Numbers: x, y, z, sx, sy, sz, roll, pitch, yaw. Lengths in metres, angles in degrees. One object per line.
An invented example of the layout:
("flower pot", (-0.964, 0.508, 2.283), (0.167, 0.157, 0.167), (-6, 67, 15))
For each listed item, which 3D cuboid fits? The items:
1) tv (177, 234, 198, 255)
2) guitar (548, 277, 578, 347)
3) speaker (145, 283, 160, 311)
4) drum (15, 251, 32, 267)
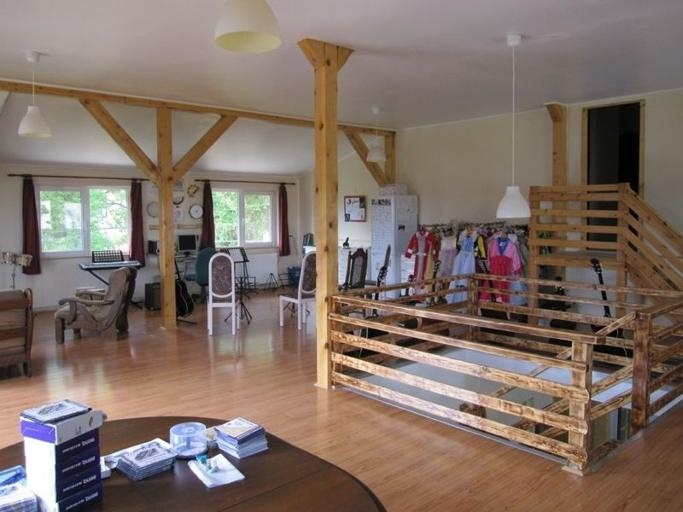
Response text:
("tv", (-3.106, -0.221, 9.770), (0.406, 0.396, 0.140), (0, -2, -37))
("guitar", (2.846, 0.653, 6.264), (0.303, 0.853, 1.797), (3, 8, 25))
("speaker", (-3.384, 0.726, 8.738), (0.205, 0.467, 0.326), (-8, 11, -43))
("drum", (-4.971, 0.071, 7.685), (0.269, 0.243, 0.317), (-2, 13, -43))
